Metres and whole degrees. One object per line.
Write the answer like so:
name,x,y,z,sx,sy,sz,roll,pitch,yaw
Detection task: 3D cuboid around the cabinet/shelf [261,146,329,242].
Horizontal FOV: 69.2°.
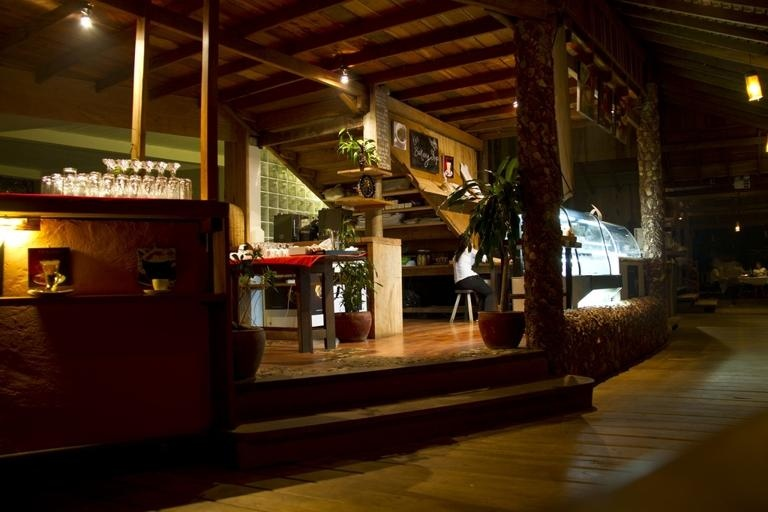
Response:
cabinet/shelf,-2.255,-1.244,11.655,0.569,1.512,1.724,-3,-1,29

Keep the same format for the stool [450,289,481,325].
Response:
stool,1.391,0.826,9.634,0.512,0.447,0.499,0,-3,-7

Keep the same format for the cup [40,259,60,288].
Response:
cup,-2.151,0.114,3.573,0.092,0.202,0.163,-2,1,-27

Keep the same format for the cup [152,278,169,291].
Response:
cup,-1.503,0.192,3.710,0.092,0.055,0.082,2,-3,-9

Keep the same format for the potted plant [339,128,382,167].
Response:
potted plant,-0.388,-1.465,7.803,0.625,0.364,0.482,-2,-12,-40

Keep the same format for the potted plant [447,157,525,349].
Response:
potted plant,1.131,-0.004,5.948,1.077,1.921,1.026,6,-11,-30

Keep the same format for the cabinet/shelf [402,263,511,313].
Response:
cabinet/shelf,1.127,0.796,10.621,2.367,1.343,1.235,-1,-5,2

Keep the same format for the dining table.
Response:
dining table,-1.165,0.469,6.297,1.667,0.738,1.066,-5,-7,37

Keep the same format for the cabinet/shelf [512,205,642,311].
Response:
cabinet/shelf,2.790,0.098,7.734,0.879,1.400,2.559,-4,-1,43

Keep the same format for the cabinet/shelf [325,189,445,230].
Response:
cabinet/shelf,-0.042,-0.821,10.604,2.289,0.655,0.675,-2,22,34

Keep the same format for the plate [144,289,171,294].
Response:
plate,-1.528,0.237,3.715,0.159,0.035,0.074,-2,1,-22

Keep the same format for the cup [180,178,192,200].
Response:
cup,-1.379,-0.465,3.853,0.042,0.147,0.084,-2,0,11

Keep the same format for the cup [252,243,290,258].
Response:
cup,-1.283,-0.075,6.293,0.256,0.105,0.315,0,-1,29
